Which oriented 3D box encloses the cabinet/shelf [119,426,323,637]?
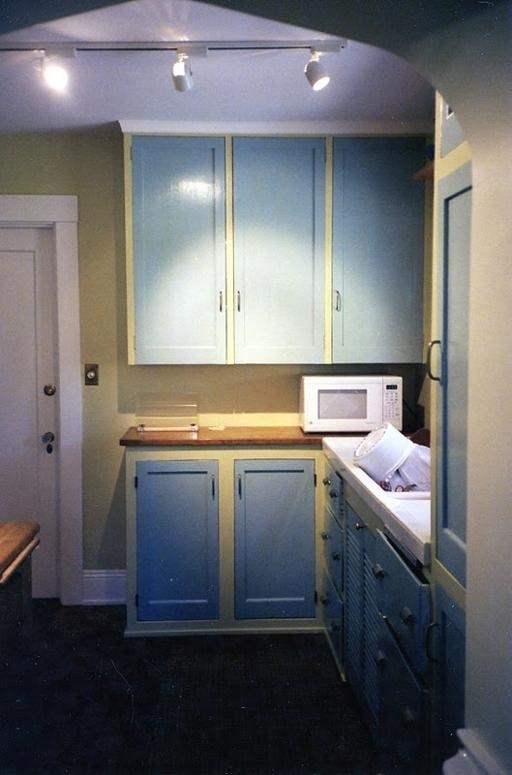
[{"bbox_3d":[-0.092,0.570,2.788,0.952,1.315,0.597,0,-1,-3],"label":"cabinet/shelf"}]

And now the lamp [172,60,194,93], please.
[{"bbox_3d":[-0.210,-0.890,1.848,0.049,0.105,0.083,2,6,1],"label":"lamp"}]
